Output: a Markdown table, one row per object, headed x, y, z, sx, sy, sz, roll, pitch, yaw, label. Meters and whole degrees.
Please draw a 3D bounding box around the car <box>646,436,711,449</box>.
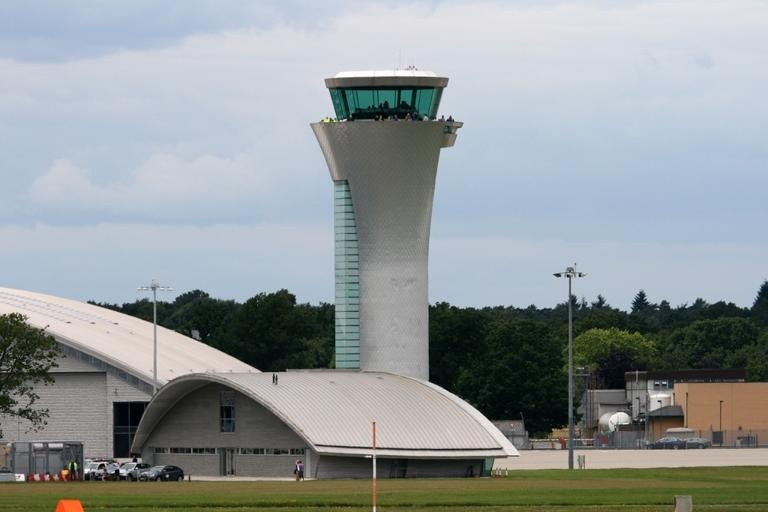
| x | y | z | sx | sy | sz | roll | pitch | yaw | label |
| --- | --- | --- | --- | --- | --- | --- | --- | --- | --- |
| 29.377 | 19.090 | 245.736 | 5.925 | 1.295 | 3.156 | -2 | -12 | 2 | car |
